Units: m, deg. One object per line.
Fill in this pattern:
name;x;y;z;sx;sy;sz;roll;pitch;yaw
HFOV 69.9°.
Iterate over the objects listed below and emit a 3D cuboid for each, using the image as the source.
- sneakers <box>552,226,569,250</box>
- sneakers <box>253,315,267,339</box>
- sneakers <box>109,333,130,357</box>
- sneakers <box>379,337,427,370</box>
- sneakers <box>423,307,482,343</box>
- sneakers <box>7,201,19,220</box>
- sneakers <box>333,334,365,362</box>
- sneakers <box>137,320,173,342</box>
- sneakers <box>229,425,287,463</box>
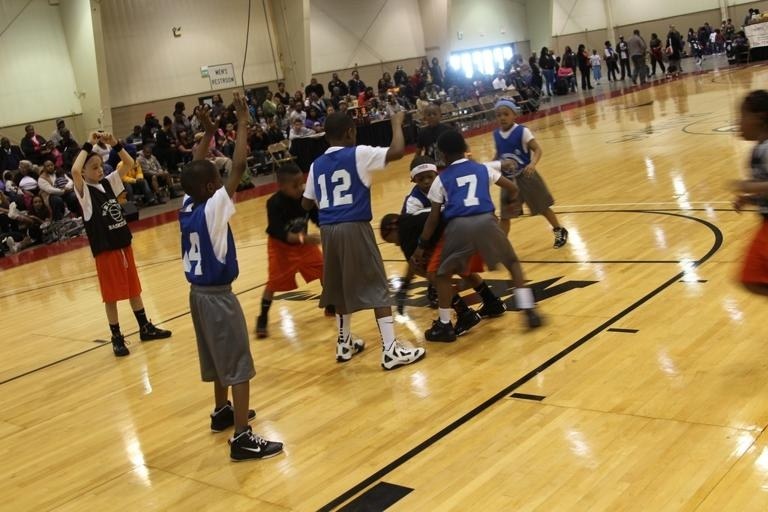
sneakers;2.037;-0.216;6.374;0.116;0.203;0.328;-18;17;45
sneakers;-1.200;0.685;5.388;0.139;0.210;0.201;-13;14;-15
sneakers;-2.634;0.892;5.513;0.146;0.210;0.239;-16;16;-28
sneakers;0.113;0.761;4.373;0.444;0.228;0.164;-11;12;-13
sneakers;0.583;0.600;4.691;0.535;0.215;0.191;-28;-4;-12
sneakers;-8.072;-0.987;12.104;0.135;0.355;0.266;10;11;16
sneakers;-0.283;0.766;4.617;0.121;0.218;0.339;1;14;26
sneakers;-2.401;0.802;5.760;0.441;0.253;0.157;-2;9;-6
sneakers;-0.809;1.196;3.532;0.377;0.203;0.160;-1;9;-9
